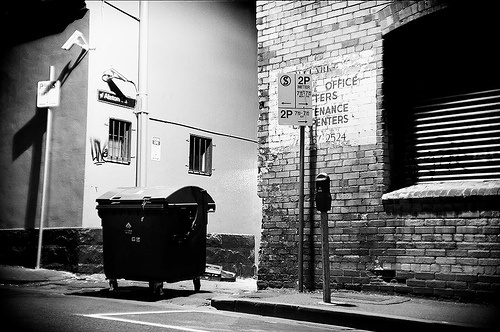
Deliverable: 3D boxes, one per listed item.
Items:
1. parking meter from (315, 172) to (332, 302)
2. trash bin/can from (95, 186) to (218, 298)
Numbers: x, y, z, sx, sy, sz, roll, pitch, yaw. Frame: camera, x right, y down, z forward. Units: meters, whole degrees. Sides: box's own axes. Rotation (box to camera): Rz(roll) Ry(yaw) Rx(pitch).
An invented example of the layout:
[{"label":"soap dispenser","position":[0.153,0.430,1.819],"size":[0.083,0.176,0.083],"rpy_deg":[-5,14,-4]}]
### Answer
[{"label":"parking meter","position":[1.395,1.303,10.513],"size":[0.415,2.101,0.366],"rpy_deg":[-3,-1,27]},{"label":"trash bin/can","position":[-2.135,1.670,12.727],"size":[2.228,2.249,2.099],"rpy_deg":[-4,-5,35]}]
